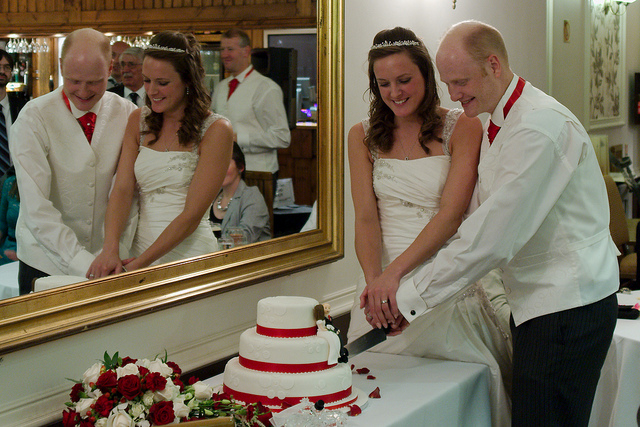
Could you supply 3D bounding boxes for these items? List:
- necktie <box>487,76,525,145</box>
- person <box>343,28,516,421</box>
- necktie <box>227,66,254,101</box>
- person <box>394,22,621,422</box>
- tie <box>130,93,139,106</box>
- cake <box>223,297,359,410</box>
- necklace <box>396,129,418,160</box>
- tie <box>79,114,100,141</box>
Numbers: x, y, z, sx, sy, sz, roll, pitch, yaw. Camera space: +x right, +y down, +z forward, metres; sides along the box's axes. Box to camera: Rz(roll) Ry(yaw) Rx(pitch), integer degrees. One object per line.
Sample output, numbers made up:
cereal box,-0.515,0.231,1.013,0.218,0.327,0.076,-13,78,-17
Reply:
necktie,0.771,-0.419,2.225,0.143,0.272,0.106,2,13,22
person,0.528,0.158,2.659,0.863,2.145,0.891,-5,19,-2
necktie,-0.388,-0.594,2.495,0.072,0.108,0.038,15,13,-2
person,0.810,0.096,2.183,0.836,1.716,0.399,1,12,15
tie,-0.765,-0.472,2.195,0.011,0.038,0.028,4,5,33
cake,-0.113,0.521,2.054,0.530,0.386,0.541,3,-8,-21
necklace,0.415,-0.323,2.535,0.131,0.183,0.006,1,-3,-3
tie,-0.895,-0.337,2.096,0.019,0.089,0.053,25,32,37
